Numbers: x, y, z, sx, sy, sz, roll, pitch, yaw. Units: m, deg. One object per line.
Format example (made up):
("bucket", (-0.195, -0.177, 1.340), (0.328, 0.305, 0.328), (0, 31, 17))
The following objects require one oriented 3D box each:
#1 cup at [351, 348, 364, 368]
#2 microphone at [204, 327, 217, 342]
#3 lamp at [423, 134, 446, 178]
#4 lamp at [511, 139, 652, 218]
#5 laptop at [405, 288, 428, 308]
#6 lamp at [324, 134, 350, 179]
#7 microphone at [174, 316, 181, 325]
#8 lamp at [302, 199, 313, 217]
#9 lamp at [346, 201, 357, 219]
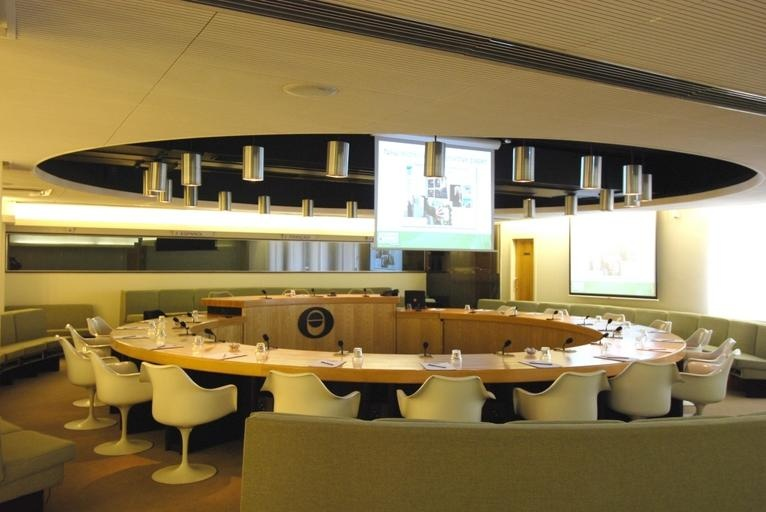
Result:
("cup", (-0.251, 0.974, 5.907), (0.117, 0.192, 0.348), (-6, 11, -4))
("microphone", (-2.103, 0.955, 7.311), (0.152, 0.087, 0.218), (-5, -32, 8))
("lamp", (0.568, -1.056, 6.663), (0.246, 0.382, 0.203), (-5, 12, 2))
("lamp", (3.033, -0.985, 8.279), (1.475, 0.399, 1.706), (0, -7, 7))
("laptop", (0.543, 0.684, 9.880), (0.394, 0.303, 0.268), (1, -1, 5))
("lamp", (-0.513, -1.079, 6.813), (0.250, 0.397, 0.304), (-6, 12, -4))
("microphone", (-2.768, 0.872, 8.105), (0.125, 0.138, 0.153), (0, -9, -19))
("lamp", (-1.299, -0.813, 10.466), (0.175, 0.290, 0.269), (-8, 12, -11))
("lamp", (-0.569, -0.813, 10.748), (0.301, 0.275, 0.269), (2, -3, -12))
